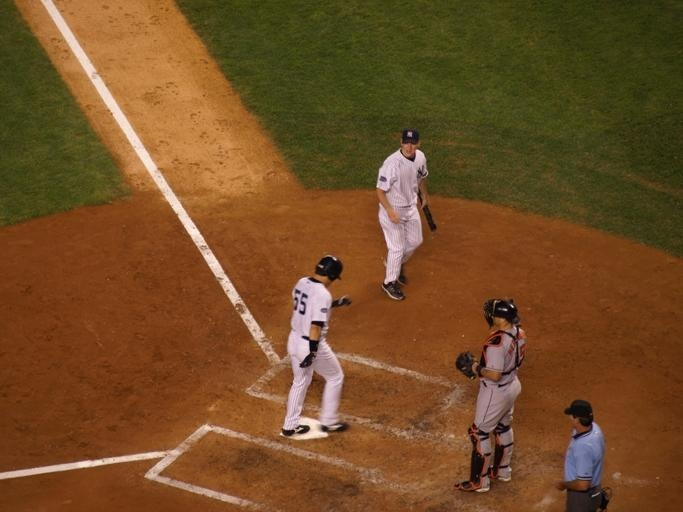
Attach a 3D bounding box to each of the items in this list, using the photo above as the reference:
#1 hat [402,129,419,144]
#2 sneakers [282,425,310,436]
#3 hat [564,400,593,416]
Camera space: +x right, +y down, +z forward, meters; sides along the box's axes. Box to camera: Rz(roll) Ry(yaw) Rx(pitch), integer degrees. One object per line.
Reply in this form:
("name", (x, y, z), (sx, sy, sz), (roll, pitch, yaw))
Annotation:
("hat", (1.169, -1.952, 16.734), (0.237, 0.151, 0.295), (9, 20, 3))
("sneakers", (-0.587, 2.580, 15.245), (0.454, 0.170, 0.144), (-7, 40, -7))
("hat", (3.117, 2.001, 13.600), (0.357, 0.163, 0.244), (10, 23, 25))
